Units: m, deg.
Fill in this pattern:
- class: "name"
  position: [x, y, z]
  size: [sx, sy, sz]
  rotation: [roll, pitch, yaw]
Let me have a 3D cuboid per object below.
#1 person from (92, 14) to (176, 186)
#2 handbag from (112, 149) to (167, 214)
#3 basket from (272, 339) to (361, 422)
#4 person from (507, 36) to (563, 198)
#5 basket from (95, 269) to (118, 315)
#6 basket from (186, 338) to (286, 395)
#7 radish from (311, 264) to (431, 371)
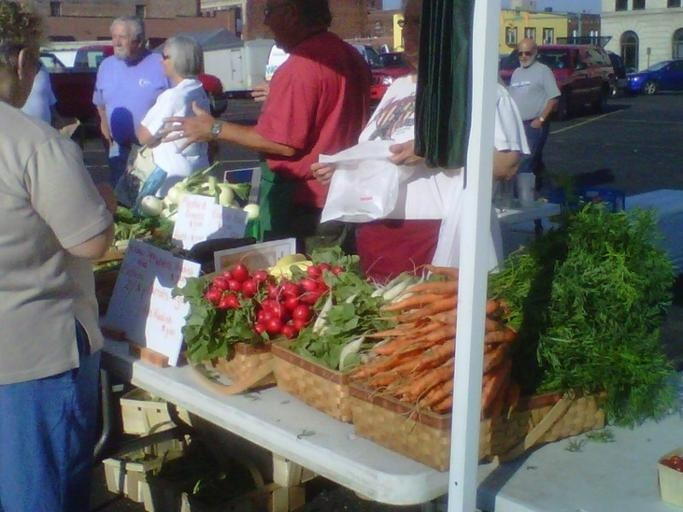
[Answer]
- class: "person"
  position: [-1.824, -1.422, 5.489]
  size: [0.543, 1.779, 0.591]
  rotation: [-14, 23, -38]
- class: "handbag"
  position: [-1.304, -0.508, 4.161]
  size: [0.121, 0.425, 0.280]
  rotation: [18, -8, -38]
- class: "basket"
  position: [-0.070, 0.392, 2.137]
  size: [0.258, 0.119, 0.176]
  rotation: [13, 15, 43]
- class: "person"
  position: [2.483, -1.812, 8.784]
  size: [0.703, 2.088, 0.590]
  rotation: [19, 43, 34]
- class: "basket"
  position: [-1.077, 0.157, 2.996]
  size: [0.132, 0.176, 0.184]
  rotation: [-2, -15, -7]
- class: "basket"
  position: [-0.380, 0.350, 2.287]
  size: [0.166, 0.111, 0.255]
  rotation: [-10, 13, -41]
- class: "radish"
  position: [0.080, 0.180, 2.208]
  size: [0.308, 0.298, 0.331]
  rotation: [-10, 17, -37]
